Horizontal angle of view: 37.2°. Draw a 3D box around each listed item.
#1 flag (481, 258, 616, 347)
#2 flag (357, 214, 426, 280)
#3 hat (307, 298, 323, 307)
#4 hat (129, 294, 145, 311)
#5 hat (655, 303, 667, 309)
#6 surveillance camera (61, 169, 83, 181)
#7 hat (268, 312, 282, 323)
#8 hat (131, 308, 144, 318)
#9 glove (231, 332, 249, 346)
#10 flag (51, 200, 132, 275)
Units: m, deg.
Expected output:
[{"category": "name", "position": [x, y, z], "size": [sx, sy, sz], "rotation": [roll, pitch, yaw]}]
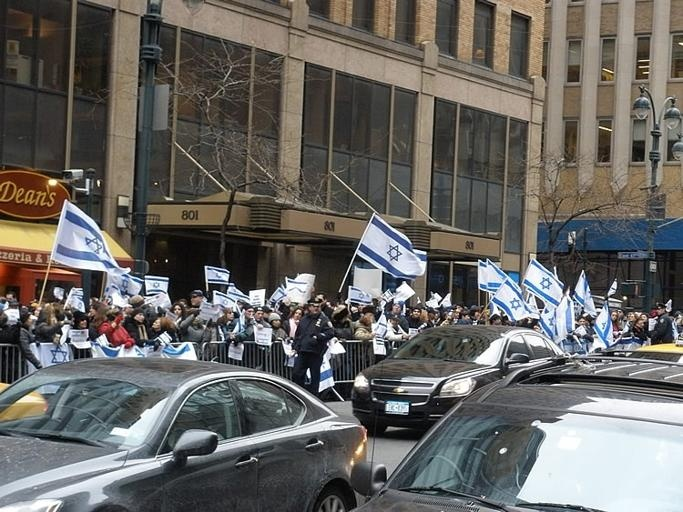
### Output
[{"category": "flag", "position": [5.520, 1.199, 27.303], "size": [2.479, 2.052, 0.338], "rotation": [4, -22, -1]}, {"category": "flag", "position": [1.005, -0.165, 19.186], "size": [1.362, 0.988, 0.143], "rotation": [20, -1, 28]}, {"category": "hat", "position": [-0.450, 0.817, 17.765], "size": [0.181, 0.172, 0.223], "rotation": [7, -5, -42]}, {"category": "hat", "position": [-3.525, 0.830, 17.555], "size": [0.286, 0.208, 0.233], "rotation": [-23, 24, 9]}, {"category": "hat", "position": [8.644, 1.321, 27.443], "size": [0.298, 0.139, 0.238], "rotation": [9, -12, -31]}, {"category": "surveillance camera", "position": [-7.014, -2.127, 26.380], "size": [0.423, 0.266, 0.557], "rotation": [0, 1, 1]}, {"category": "hat", "position": [-1.289, 1.170, 19.324], "size": [0.168, 0.132, 0.164], "rotation": [4, -3, 6]}, {"category": "hat", "position": [-3.376, 0.950, 16.784], "size": [0.186, 0.171, 0.246], "rotation": [2, -4, -13]}, {"category": "glove", "position": [-1.812, 1.477, 18.001], "size": [0.190, 0.089, 0.246], "rotation": [-8, -10, -34]}, {"category": "flag", "position": [-4.078, -0.177, 16.635], "size": [0.251, 1.008, 1.592], "rotation": [-2, -20, 28]}]
